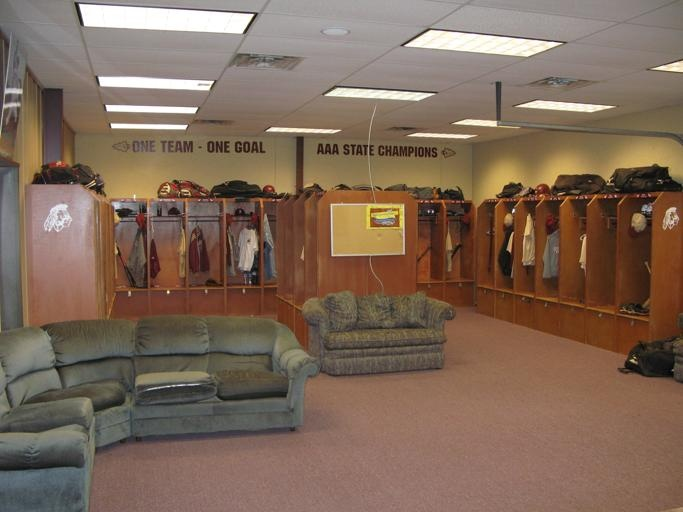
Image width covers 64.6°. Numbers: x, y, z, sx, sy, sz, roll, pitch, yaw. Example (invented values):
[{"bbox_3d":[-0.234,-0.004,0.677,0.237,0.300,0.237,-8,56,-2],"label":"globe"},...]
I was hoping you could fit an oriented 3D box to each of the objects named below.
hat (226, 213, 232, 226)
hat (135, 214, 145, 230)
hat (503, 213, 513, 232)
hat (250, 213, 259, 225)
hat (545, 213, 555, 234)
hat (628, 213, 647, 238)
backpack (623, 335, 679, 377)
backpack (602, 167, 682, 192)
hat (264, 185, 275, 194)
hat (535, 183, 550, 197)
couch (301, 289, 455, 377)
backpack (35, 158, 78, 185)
[{"bbox_3d":[-2.246,-0.733,10.781,0.146,0.189,0.177,-3,1,-9],"label":"hat"},{"bbox_3d":[-3.969,-0.665,10.649,0.188,0.261,0.090,9,10,44],"label":"hat"},{"bbox_3d":[3.401,-0.689,11.022,0.108,0.306,0.230,3,-5,-28],"label":"hat"},{"bbox_3d":[-1.749,-0.735,10.807,0.179,0.341,0.192,2,-1,-9],"label":"hat"},{"bbox_3d":[3.855,-0.595,9.961,0.185,0.345,0.097,11,15,33],"label":"hat"},{"bbox_3d":[4.579,-0.457,8.381,0.272,0.336,0.355,7,-15,16],"label":"hat"},{"bbox_3d":[4.339,1.409,7.636,0.645,0.416,0.682,5,9,31],"label":"backpack"},{"bbox_3d":[4.719,-1.197,8.418,1.030,0.437,0.595,5,9,32],"label":"backpack"},{"bbox_3d":[-1.521,-1.404,11.427,0.220,0.163,0.222,2,3,39],"label":"hat"},{"bbox_3d":[3.891,-1.270,10.427,0.325,0.276,0.253,2,2,4],"label":"hat"},{"bbox_3d":[0.509,1.088,7.952,2.194,1.171,1.106,-1,-2,-14],"label":"couch"},{"bbox_3d":[-3.578,-1.039,6.715,0.551,0.326,0.745,-1,0,-28],"label":"backpack"}]
